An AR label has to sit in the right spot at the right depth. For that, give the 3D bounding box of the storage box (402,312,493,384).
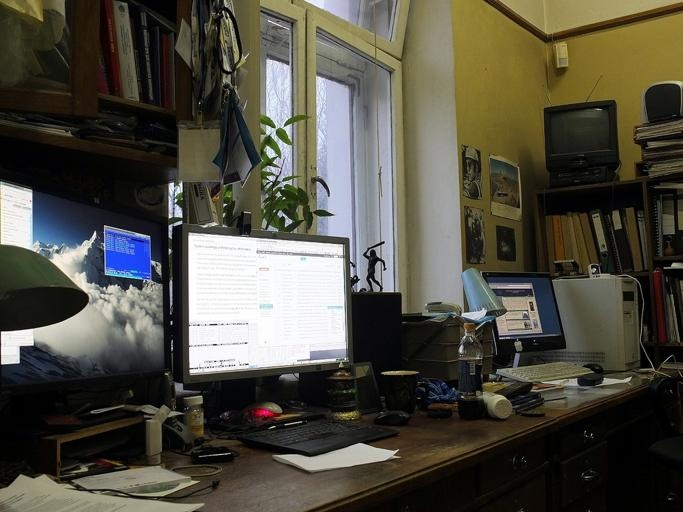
[{"bbox_3d":[0.394,0.357,2.159,0.342,0.196,0.344,-4,-6,35],"label":"storage box"}]

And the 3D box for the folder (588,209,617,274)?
[{"bbox_3d":[1.685,-0.106,3.599,0.068,0.312,0.299,-9,4,10],"label":"folder"}]

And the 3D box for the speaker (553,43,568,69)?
[{"bbox_3d":[1.628,-1.493,4.128,0.099,0.202,0.073,-4,-6,23],"label":"speaker"}]

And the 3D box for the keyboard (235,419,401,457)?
[{"bbox_3d":[-0.061,0.481,1.513,0.379,0.032,0.300,3,-7,-45],"label":"keyboard"}]

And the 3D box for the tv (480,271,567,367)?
[{"bbox_3d":[0.839,0.299,2.582,0.439,0.464,0.197,2,-6,-40],"label":"tv"}]

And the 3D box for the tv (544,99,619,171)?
[{"bbox_3d":[1.611,-0.866,3.747,0.452,0.447,0.335,3,36,32],"label":"tv"}]

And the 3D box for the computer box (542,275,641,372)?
[{"bbox_3d":[1.243,0.332,2.918,0.383,0.483,0.264,-3,11,25],"label":"computer box"}]

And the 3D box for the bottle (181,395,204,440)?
[{"bbox_3d":[-0.401,0.437,1.513,0.050,0.108,0.042,1,-6,-25],"label":"bottle"}]

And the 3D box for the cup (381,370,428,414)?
[{"bbox_3d":[0.191,0.423,1.765,0.117,0.134,0.116,0,-7,0],"label":"cup"}]

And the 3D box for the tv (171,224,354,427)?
[{"bbox_3d":[-0.266,0.197,1.744,0.626,0.547,0.218,6,-11,-42],"label":"tv"}]

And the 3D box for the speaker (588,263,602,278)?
[{"bbox_3d":[1.396,0.082,3.080,0.027,0.080,0.077,-3,-1,42],"label":"speaker"}]

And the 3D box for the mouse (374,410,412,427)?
[{"bbox_3d":[0.157,0.474,1.654,0.081,0.028,0.046,0,-5,21],"label":"mouse"}]
